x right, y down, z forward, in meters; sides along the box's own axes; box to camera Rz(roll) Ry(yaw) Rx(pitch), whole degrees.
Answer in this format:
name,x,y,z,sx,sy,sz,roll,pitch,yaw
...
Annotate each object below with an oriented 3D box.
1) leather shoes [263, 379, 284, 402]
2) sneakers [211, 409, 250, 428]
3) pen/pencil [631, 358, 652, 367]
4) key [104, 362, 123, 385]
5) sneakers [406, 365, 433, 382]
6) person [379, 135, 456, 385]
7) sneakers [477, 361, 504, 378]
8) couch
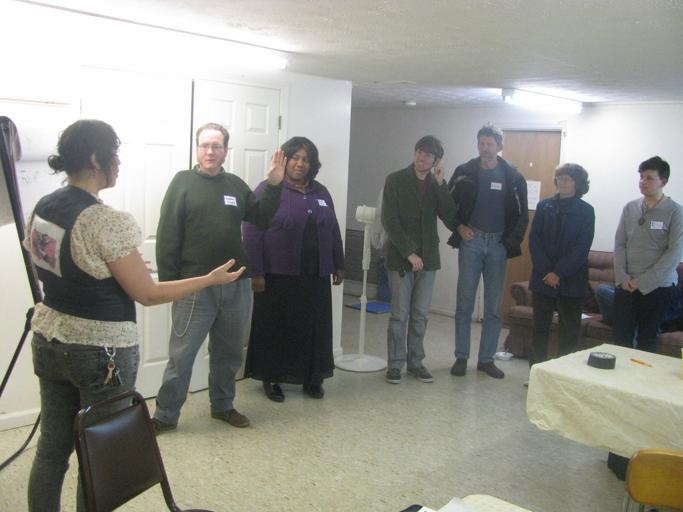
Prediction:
name,x,y,z,sx,sy,sz,roll,pitch,yaw
leather shoes,-0.539,1.089,4.374,0.088,0.100,0.244,-1,17,-22
sneakers,-0.800,1.138,3.912,0.271,0.107,0.112,3,5,29
pen/pencil,1.650,0.582,3.009,0.027,0.025,0.123,-10,9,-20
key,-1.004,0.515,2.390,0.071,0.085,0.020,16,6,3
sneakers,0.710,1.065,4.951,0.257,0.109,0.097,8,15,43
person,0.653,0.034,4.809,0.635,2.152,0.458,2,10,-2
sneakers,1.400,1.055,5.118,0.107,0.103,0.233,-14,13,-39
couch,2.539,0.666,5.515,1.002,1.294,1.806,6,-1,-37
